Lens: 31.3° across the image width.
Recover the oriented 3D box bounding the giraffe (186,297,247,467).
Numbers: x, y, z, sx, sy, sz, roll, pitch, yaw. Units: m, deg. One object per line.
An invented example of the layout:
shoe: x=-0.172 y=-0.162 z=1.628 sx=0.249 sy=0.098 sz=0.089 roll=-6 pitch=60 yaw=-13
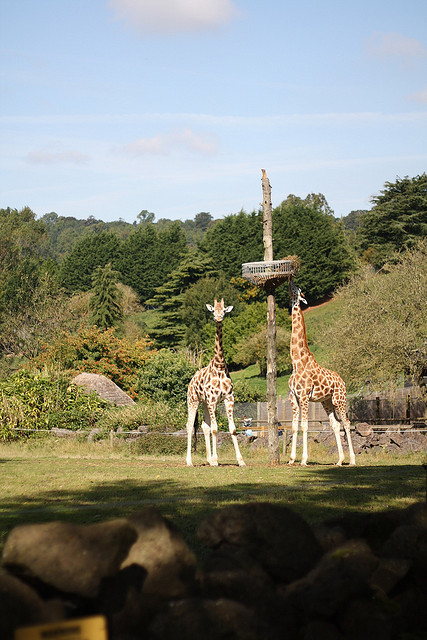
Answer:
giraffe: x=0.065 y=1.343 z=17.091 sx=1.116 sy=3.829 sz=2.626 roll=5 pitch=-3 yaw=-8
